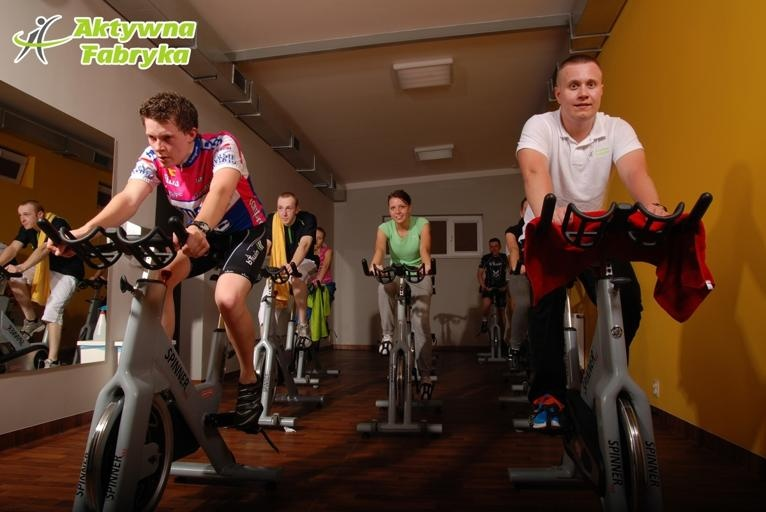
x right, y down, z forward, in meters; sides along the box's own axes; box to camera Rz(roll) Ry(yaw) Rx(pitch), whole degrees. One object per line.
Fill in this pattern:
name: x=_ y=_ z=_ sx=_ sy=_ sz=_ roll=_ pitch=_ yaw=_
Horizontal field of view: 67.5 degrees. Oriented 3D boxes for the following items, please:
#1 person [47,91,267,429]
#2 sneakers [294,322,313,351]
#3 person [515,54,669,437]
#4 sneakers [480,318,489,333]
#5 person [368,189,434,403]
person: x=-1.104 y=-0.048 z=3.288 sx=0.885 sy=1.726 sz=1.268 roll=3 pitch=7 yaw=24
sneakers: x=-0.797 y=0.769 z=5.558 sx=0.168 sy=0.246 sz=0.229 roll=0 pitch=-9 yaw=2
person: x=1.103 y=-0.110 z=3.104 sx=0.687 sy=2.070 sz=0.579 roll=-3 pitch=-10 yaw=18
sneakers: x=1.590 y=1.098 z=9.065 sx=0.113 sy=0.167 sz=0.395 roll=1 pitch=4 yaw=12
person: x=0.163 y=0.225 z=4.981 sx=0.526 sy=1.987 sz=1.547 roll=0 pitch=-9 yaw=4
